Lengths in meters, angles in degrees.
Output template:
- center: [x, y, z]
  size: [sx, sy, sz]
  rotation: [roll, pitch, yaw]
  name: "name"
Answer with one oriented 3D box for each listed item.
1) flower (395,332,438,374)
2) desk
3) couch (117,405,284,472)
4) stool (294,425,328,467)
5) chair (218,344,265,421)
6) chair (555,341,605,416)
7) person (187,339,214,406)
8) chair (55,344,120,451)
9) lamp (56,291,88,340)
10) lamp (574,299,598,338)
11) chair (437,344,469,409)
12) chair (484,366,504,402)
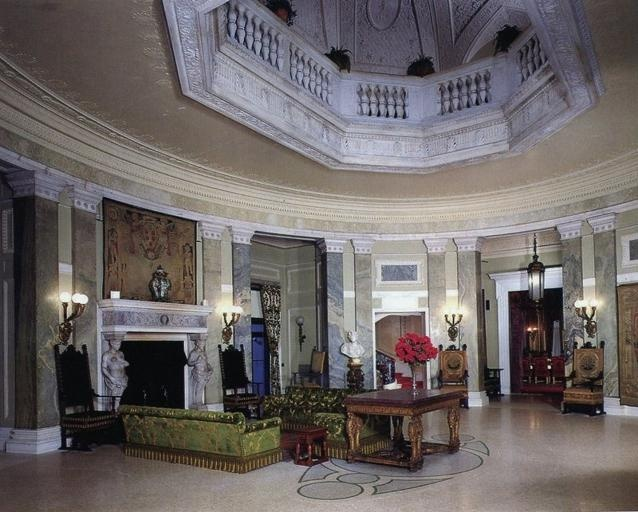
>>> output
- center: [1.480, 1.456, 7.917]
  size: [0.544, 0.609, 0.587]
  rotation: [1, 1, 9]
  name: "flower"
- center: [1.260, 2.528, 7.700]
  size: [1.133, 0.978, 1.688]
  rotation: [-3, -4, 40]
  name: "desk"
- center: [-1.736, 2.593, 7.436]
  size: [2.180, 0.842, 0.644]
  rotation: [-2, -3, 24]
  name: "couch"
- center: [-0.112, 2.781, 7.465]
  size: [0.310, 0.473, 0.497]
  rotation: [-7, -12, 32]
  name: "stool"
- center: [-1.714, 2.859, 11.065]
  size: [0.685, 1.700, 0.762]
  rotation: [-6, -7, 36]
  name: "chair"
- center: [5.805, 2.735, 11.390]
  size: [0.965, 1.498, 1.038]
  rotation: [3, -8, -9]
  name: "chair"
- center: [-2.497, 2.450, 10.779]
  size: [0.471, 1.504, 0.258]
  rotation: [1, -2, -14]
  name: "person"
- center: [-3.793, 2.339, 8.573]
  size: [0.905, 1.713, 0.774]
  rotation: [-1, -3, 21]
  name: "chair"
- center: [-4.147, 1.076, 8.721]
  size: [0.420, 0.882, 0.476]
  rotation: [1, -3, -26]
  name: "lamp"
- center: [6.040, 1.477, 11.773]
  size: [0.207, 0.872, 0.501]
  rotation: [2, -3, -38]
  name: "lamp"
- center: [3.352, 3.061, 12.946]
  size: [0.709, 1.481, 0.723]
  rotation: [-3, 3, 19]
  name: "chair"
- center: [4.913, 3.670, 14.646]
  size: [0.405, 0.809, 0.917]
  rotation: [-1, -3, 21]
  name: "chair"
